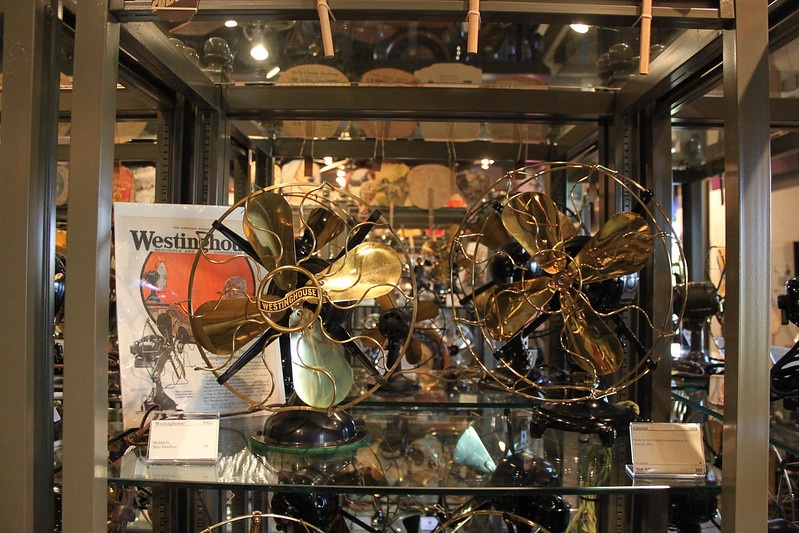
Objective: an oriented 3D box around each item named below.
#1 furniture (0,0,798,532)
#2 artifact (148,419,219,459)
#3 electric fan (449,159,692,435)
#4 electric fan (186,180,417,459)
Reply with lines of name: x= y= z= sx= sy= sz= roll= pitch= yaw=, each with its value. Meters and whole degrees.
furniture: x=-0.026 y=0.009 z=3.646 sx=2.196 sy=2.079 sz=0.818 roll=0 pitch=-1 yaw=-1
artifact: x=-0.774 y=0.629 z=3.488 sx=0.212 sy=0.147 sz=0.048 roll=1 pitch=-12 yaw=-4
electric fan: x=0.714 y=0.128 z=3.863 sx=1.129 sy=1.203 sz=0.617 roll=-1 pitch=-2 yaw=5
electric fan: x=-0.396 y=0.232 z=3.631 sx=1.082 sy=1.191 sz=0.529 roll=0 pitch=5 yaw=-1
